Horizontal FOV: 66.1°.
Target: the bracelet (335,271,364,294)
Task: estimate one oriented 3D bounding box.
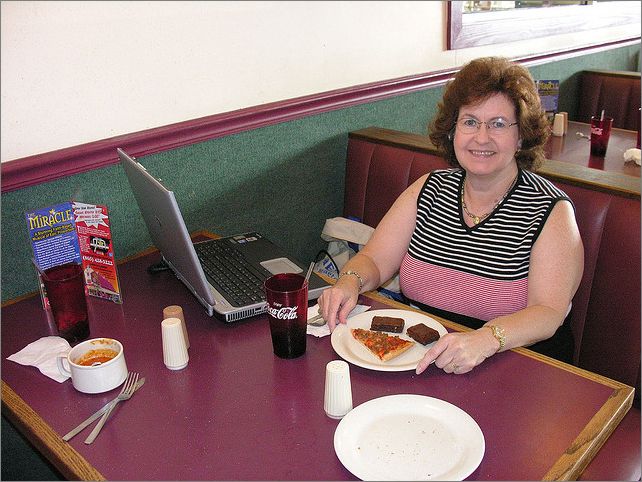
[{"bbox_3d":[0.098,0.126,1.552,0.055,0.069,0.024,15,32,26],"label":"bracelet"}]

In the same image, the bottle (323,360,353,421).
[{"bbox_3d":[0.036,0.326,1.058,0.072,0.113,0.075,-2,22,1],"label":"bottle"}]

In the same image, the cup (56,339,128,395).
[{"bbox_3d":[-0.541,0.312,1.191,0.145,0.078,0.117,-1,25,-3],"label":"cup"}]

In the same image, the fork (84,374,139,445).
[{"bbox_3d":[-0.463,0.376,1.106,0.030,0.026,0.179,38,30,1],"label":"fork"}]

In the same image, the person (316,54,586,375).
[{"bbox_3d":[0.486,-0.271,1.846,0.975,1.168,0.830,-19,27,-38],"label":"person"}]

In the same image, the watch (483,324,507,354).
[{"bbox_3d":[0.438,0.250,1.254,0.048,0.027,0.053,13,24,-45],"label":"watch"}]

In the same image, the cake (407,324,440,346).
[{"bbox_3d":[0.263,0.234,1.266,0.044,0.022,0.058,-16,28,-28],"label":"cake"}]

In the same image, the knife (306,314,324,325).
[{"bbox_3d":[-0.021,0.216,1.368,0.025,0.007,0.027,-16,19,-14],"label":"knife"}]

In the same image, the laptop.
[{"bbox_3d":[-0.289,0.046,1.540,0.529,0.468,0.621,-10,29,-32],"label":"laptop"}]
